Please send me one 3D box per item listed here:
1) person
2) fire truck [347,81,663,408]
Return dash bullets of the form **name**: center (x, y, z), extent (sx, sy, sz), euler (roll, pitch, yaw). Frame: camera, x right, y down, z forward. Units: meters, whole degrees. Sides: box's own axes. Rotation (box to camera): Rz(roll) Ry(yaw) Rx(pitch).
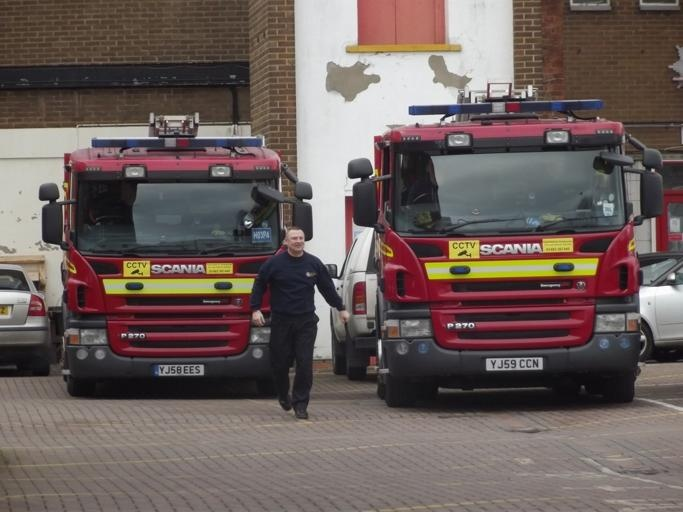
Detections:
- **person**: center (-0.597, 0.877, 18.182), extent (1.150, 2.490, 0.721), euler (-2, 8, -3)
- **fire truck**: center (1.610, -0.587, 21.170), extent (4.184, 4.039, 7.199), euler (-1, 8, -11)
